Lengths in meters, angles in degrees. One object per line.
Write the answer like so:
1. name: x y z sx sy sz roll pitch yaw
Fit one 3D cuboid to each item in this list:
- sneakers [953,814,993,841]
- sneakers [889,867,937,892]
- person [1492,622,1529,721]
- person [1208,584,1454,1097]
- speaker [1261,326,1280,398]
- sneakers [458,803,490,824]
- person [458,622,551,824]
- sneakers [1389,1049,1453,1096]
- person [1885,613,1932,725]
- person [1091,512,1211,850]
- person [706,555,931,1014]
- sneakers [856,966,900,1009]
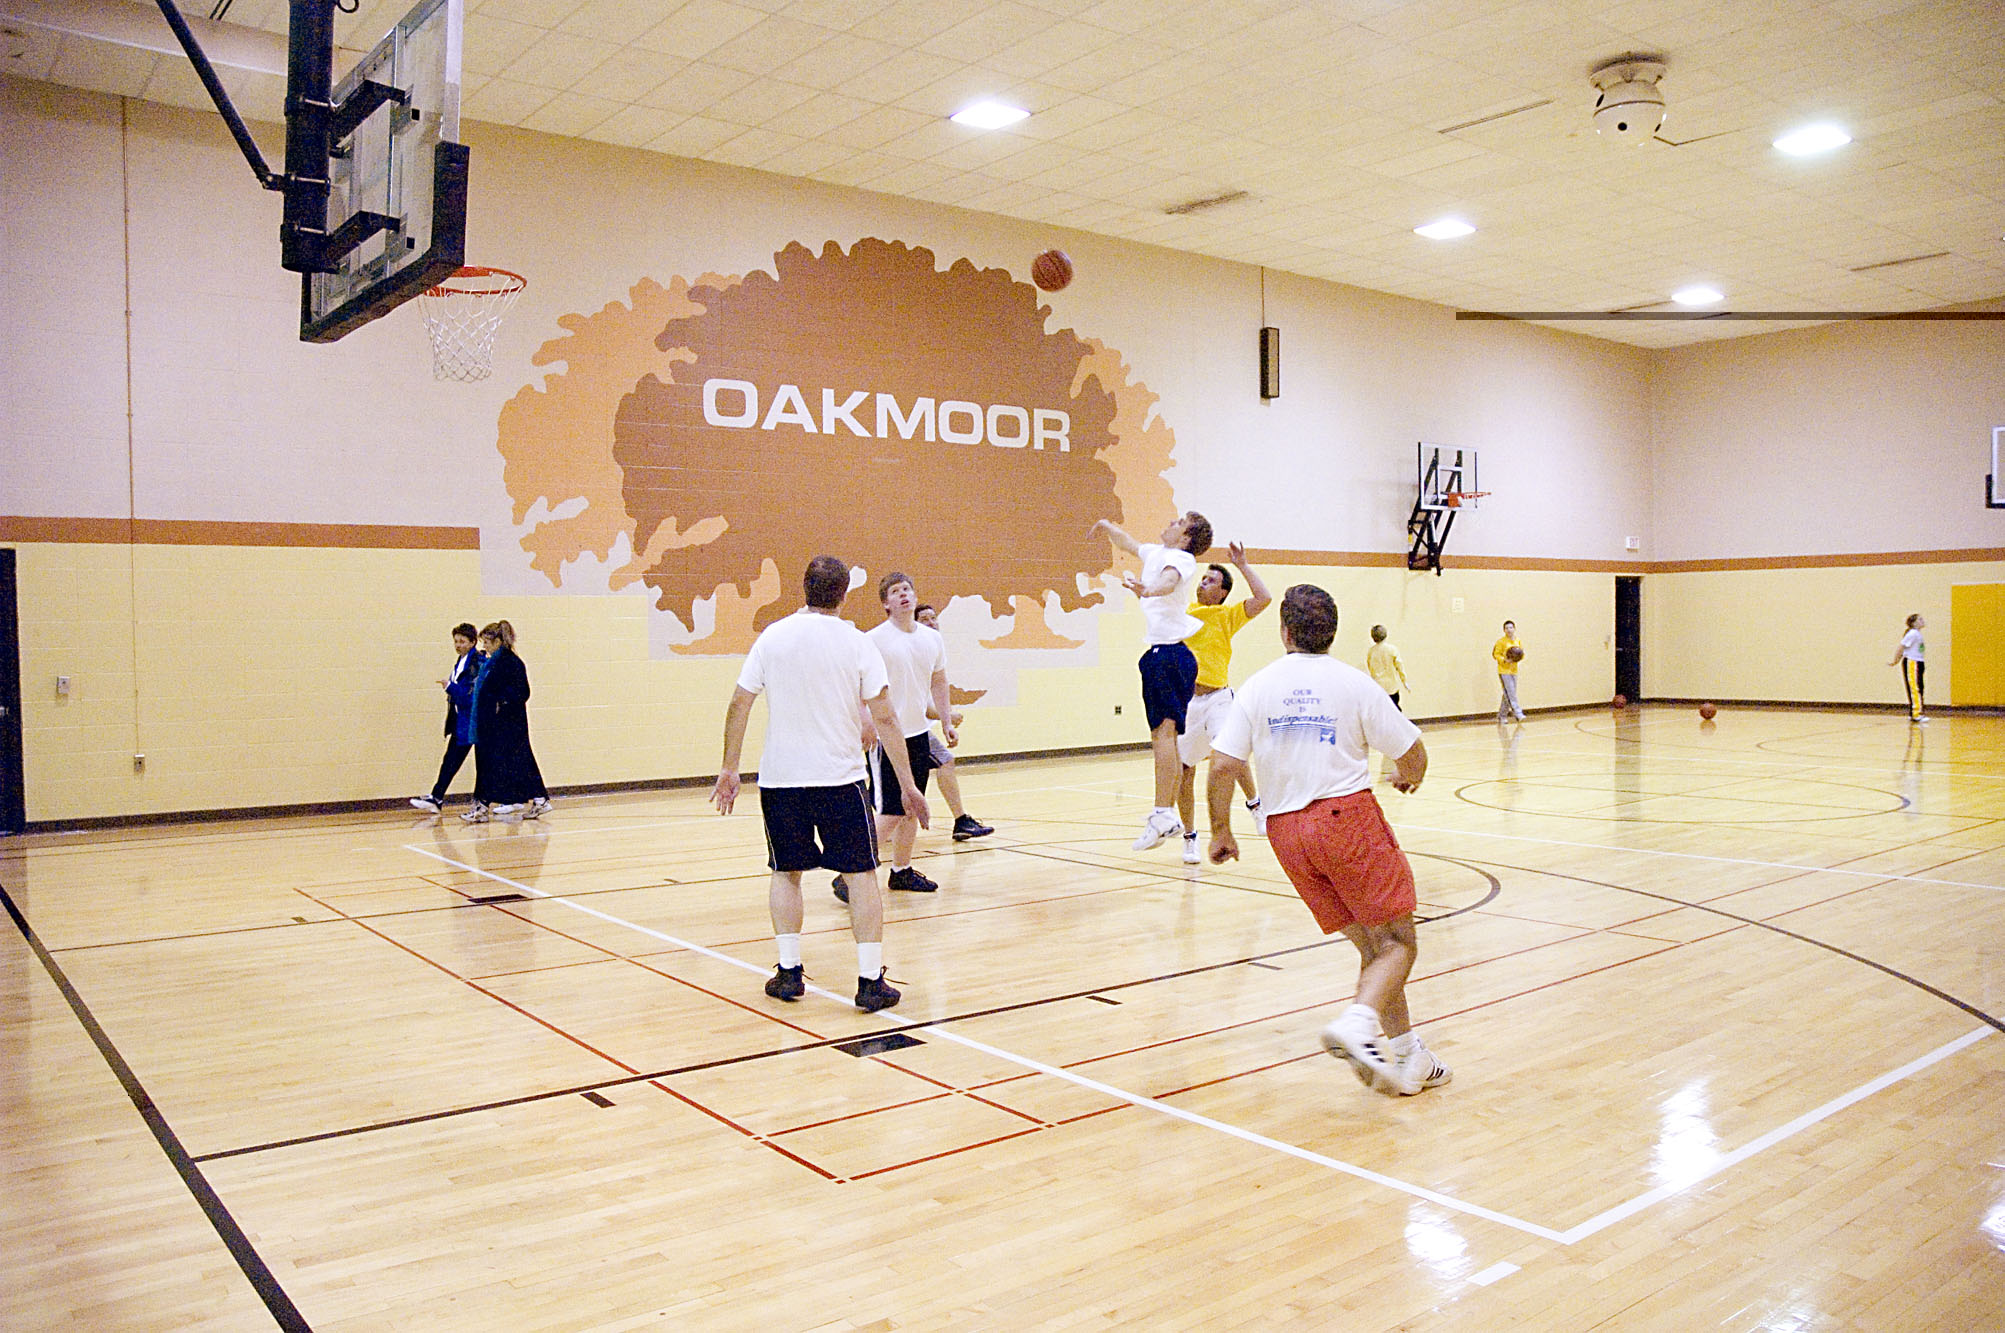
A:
1. sneakers: -0.232 1.232 9.921 0.378 0.264 0.130 -2 -3 -1
2. sneakers: -0.556 1.348 8.239 0.375 0.156 0.125 0 -3 -3
3. person: 7.496 0.054 19.267 0.410 1.411 1.201 2 6 22
4. person: 1.307 0.700 5.147 0.906 1.999 0.450 2 7 19
5. speaker: 3.500 -3.862 16.756 0.371 0.911 0.179 -6 9 -44
6. sneakers: -4.510 1.266 11.229 0.189 0.099 0.251 0 4 -18
7. person: -4.166 0.471 11.006 0.532 1.659 0.573 -4 7 -27
8. sneakers: 1.688 1.612 5.250 0.123 0.145 0.316 -2 -1 42
9. person: 12.971 0.006 18.560 0.472 1.487 2.628 4 7 35
10. person: 1.122 0.149 9.121 0.671 2.425 1.324 0 6 7
11. person: -0.809 0.545 6.094 0.805 2.078 0.423 -1 6 -4
12. sneakers: -0.535 1.505 6.146 0.104 0.199 0.295 2 3 38
